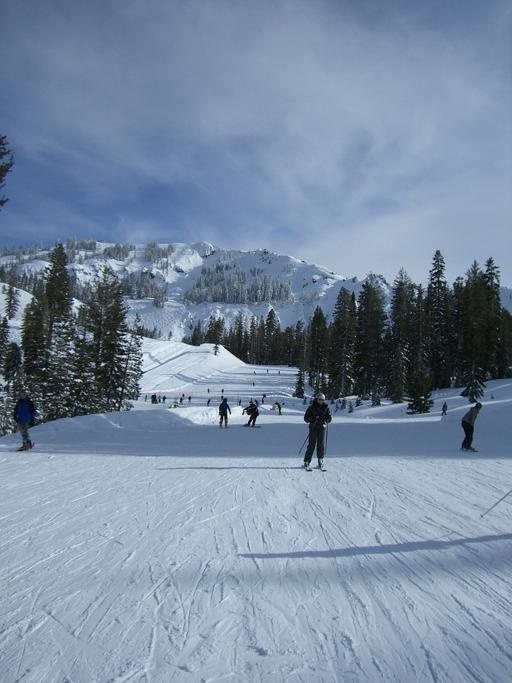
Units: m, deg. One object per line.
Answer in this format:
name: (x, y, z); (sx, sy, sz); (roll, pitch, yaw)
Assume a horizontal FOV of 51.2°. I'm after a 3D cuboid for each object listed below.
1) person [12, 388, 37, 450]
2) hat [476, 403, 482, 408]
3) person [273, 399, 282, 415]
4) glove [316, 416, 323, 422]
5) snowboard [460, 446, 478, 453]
person: (-6.084, 2.031, 14.100); (0.443, 1.514, 2.402); (2, -3, -23)
hat: (5.672, 1.623, 13.610); (0.160, 0.069, 0.220); (4, 2, 28)
person: (1.722, 5.150, 42.170); (0.641, 0.659, 1.830); (-11, -20, 1)
glove: (1.322, 1.614, 11.117); (0.124, 0.142, 0.058); (0, -2, 6)
snowboard: (5.713, 2.865, 14.305); (0.458, 0.203, 0.152); (-4, -3, 12)
